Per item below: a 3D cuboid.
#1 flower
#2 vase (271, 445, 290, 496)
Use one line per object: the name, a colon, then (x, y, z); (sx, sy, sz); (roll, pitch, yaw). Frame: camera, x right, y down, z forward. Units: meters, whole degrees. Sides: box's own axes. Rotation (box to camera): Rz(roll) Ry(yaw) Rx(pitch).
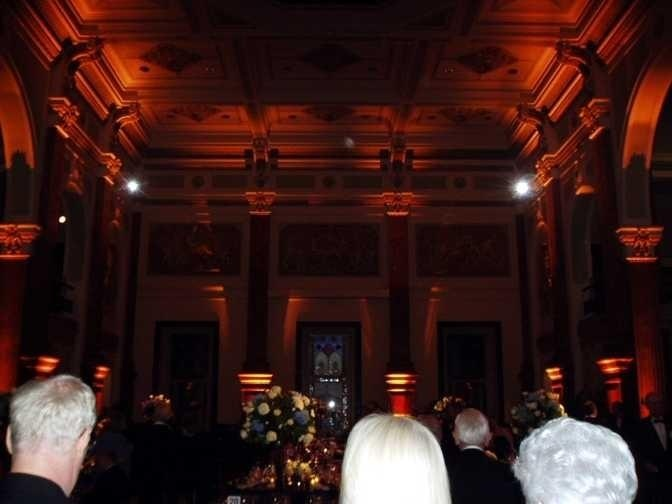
flower: (-0.654, 1.867, 5.926); (0.787, 0.690, 0.845); (-5, -25, 0)
vase: (-0.578, 2.306, 5.568); (0.151, 0.573, 0.136); (3, -38, -10)
